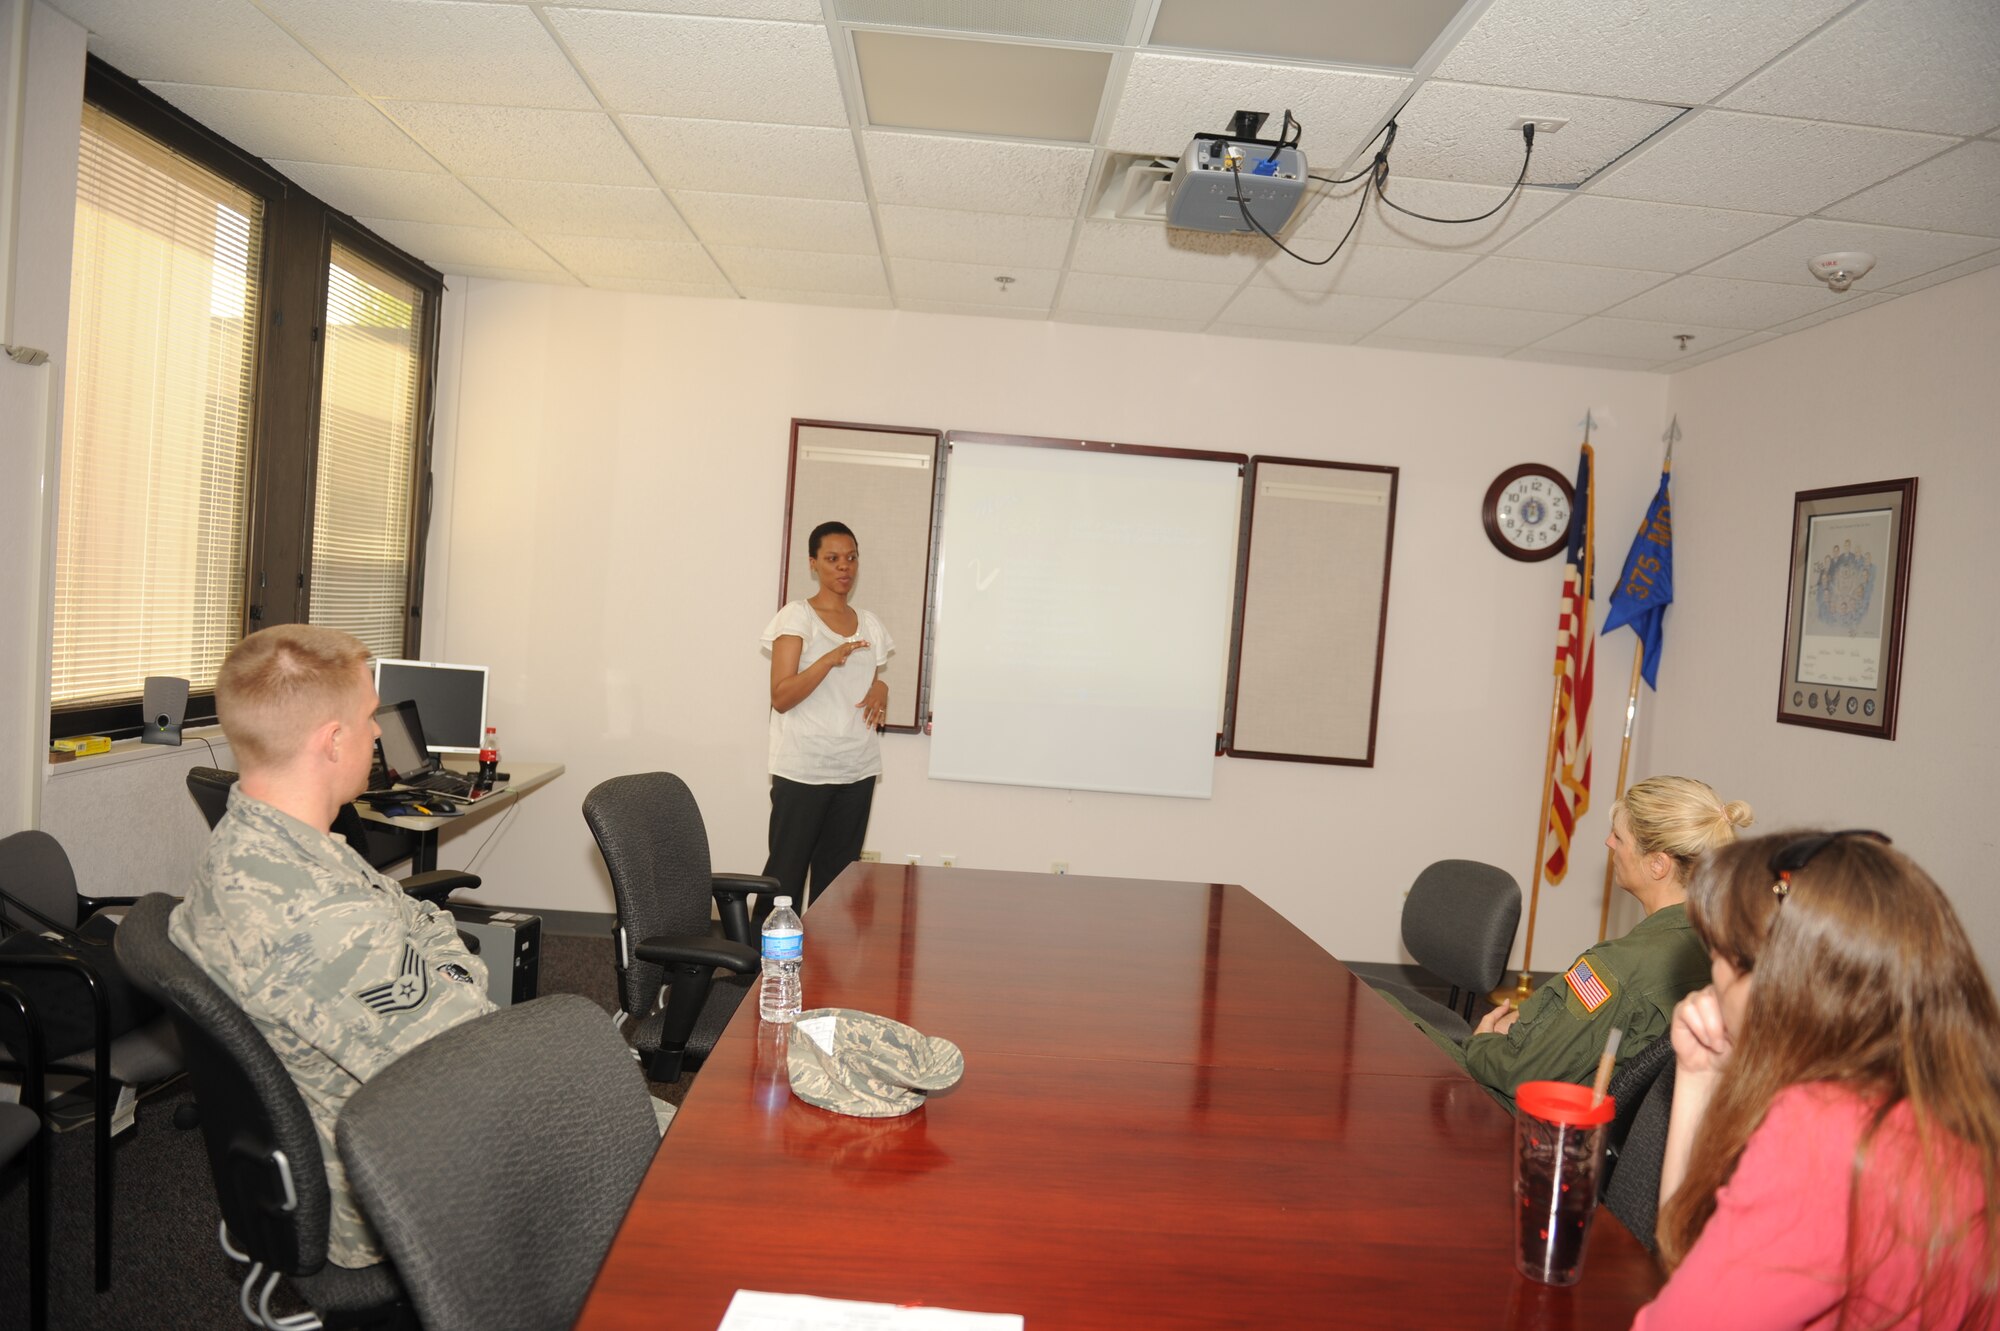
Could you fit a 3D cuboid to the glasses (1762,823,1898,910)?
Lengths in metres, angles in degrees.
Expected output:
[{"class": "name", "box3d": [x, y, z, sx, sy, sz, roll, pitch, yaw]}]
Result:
[{"class": "glasses", "box3d": [1.530, 0.371, 2.397, 0.143, 0.112, 0.190, 0, -19, 1]}]

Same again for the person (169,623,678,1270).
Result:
[{"class": "person", "box3d": [-1.450, 0.724, 3.223, 0.990, 1.658, 0.771, -9, 18, -42]}]

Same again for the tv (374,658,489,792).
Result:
[{"class": "tv", "box3d": [-2.390, 0.254, 5.428, 0.526, 0.558, 0.193, 1, -6, -35]}]

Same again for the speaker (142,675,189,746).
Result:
[{"class": "speaker", "box3d": [-2.929, 0.156, 4.545, 0.168, 0.226, 0.053, 4, 7, -14]}]

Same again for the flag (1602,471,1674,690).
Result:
[{"class": "flag", "box3d": [3.156, -0.439, 6.364, 0.311, 0.835, 0.252, 5, 3, 8]}]

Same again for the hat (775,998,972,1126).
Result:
[{"class": "hat", "box3d": [-0.319, 0.901, 2.854, 0.398, 0.164, 0.457, 4, 1, -33]}]

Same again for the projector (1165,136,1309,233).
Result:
[{"class": "projector", "box3d": [0.794, -1.613, 4.354, 0.409, 0.161, 0.350, 4, 3, 2]}]

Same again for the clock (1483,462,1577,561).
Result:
[{"class": "clock", "box3d": [2.614, -0.772, 6.429, 0.370, 0.368, 0.033, 28, 2, -4]}]
